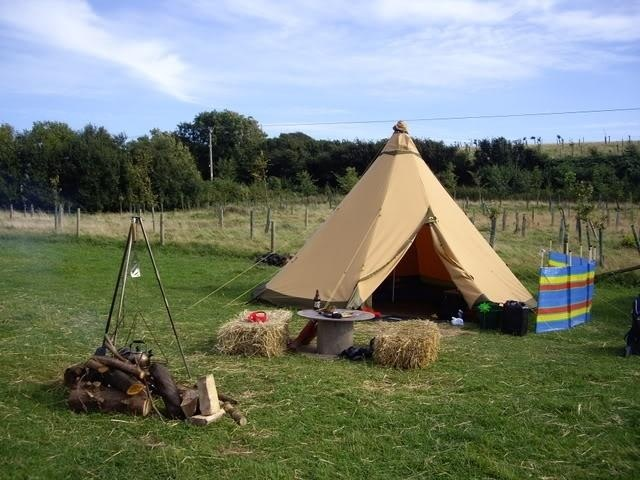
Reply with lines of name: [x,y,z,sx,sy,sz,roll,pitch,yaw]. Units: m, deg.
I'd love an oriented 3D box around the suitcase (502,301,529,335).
suitcase: [3.646,1.474,10.049,0.495,0.554,0.457,4,8,18]

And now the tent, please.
tent: [1.609,-0.056,11.157,5.781,3.257,4.378,0,2,-5]

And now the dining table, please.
dining table: [0.212,1.406,8.247,0.834,0.398,0.808,-2,4,-43]
